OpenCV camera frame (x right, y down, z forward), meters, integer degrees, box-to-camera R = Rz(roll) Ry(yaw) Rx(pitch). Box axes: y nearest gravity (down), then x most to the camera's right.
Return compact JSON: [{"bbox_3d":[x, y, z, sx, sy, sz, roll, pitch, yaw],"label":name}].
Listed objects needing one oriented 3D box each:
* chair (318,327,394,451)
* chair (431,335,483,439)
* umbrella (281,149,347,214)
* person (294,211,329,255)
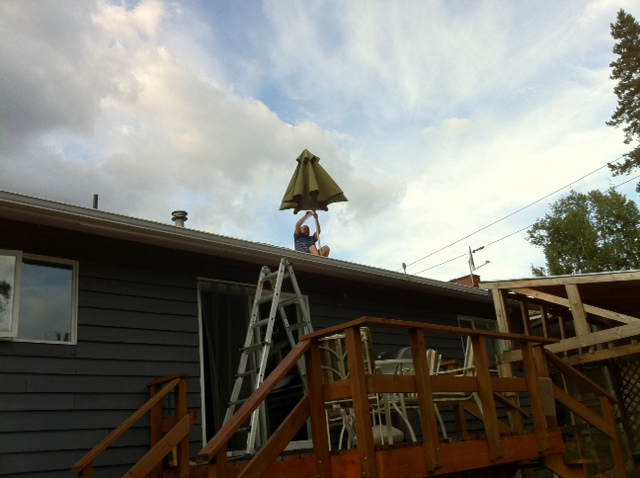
[{"bbox_3d":[0.356,1.530,4.812,0.703,1.201,0.743,-9,-13,-2],"label":"chair"},{"bbox_3d":[1.456,1.635,5.216,0.523,1.034,2.476,-9,-20,15],"label":"chair"},{"bbox_3d":[-0.180,-1.206,9.441,1.190,1.203,0.716,-2,-19,-5],"label":"umbrella"},{"bbox_3d":[-0.159,-0.099,9.031,0.477,1.033,0.633,13,-25,-39],"label":"person"}]
